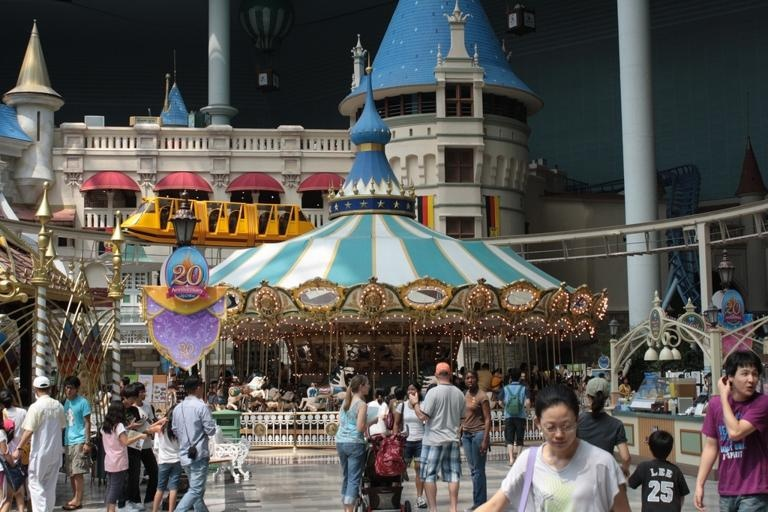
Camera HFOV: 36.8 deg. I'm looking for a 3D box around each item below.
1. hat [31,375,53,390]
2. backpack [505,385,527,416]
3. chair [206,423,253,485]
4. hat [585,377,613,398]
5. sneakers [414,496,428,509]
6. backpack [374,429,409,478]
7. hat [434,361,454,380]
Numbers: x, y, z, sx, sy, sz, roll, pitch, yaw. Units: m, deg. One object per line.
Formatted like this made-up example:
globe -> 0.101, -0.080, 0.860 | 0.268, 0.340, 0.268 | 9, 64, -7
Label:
hat -> -7.122, 2.654, 24.054 | 0.566, 0.319, 0.797 | 0, -4, -19
backpack -> 3.084, 3.425, 27.254 | 0.687, 0.907, 0.498 | 1, -7, -2
chair -> -3.833, 4.760, 27.901 | 1.049, 1.301, 1.136 | 9, 2, -23
hat -> 4.064, 2.510, 22.035 | 0.405, 0.364, 0.524 | -1, -7, 4
sneakers -> 0.799, 5.312, 24.814 | 0.227, 0.265, 0.434 | -1, -7, 2
backpack -> 0.102, 4.053, 23.249 | 0.607, 0.861, 0.244 | 0, -7, -2
hat -> 1.195, 2.330, 23.383 | 0.370, 0.393, 0.492 | 0, 33, 3
